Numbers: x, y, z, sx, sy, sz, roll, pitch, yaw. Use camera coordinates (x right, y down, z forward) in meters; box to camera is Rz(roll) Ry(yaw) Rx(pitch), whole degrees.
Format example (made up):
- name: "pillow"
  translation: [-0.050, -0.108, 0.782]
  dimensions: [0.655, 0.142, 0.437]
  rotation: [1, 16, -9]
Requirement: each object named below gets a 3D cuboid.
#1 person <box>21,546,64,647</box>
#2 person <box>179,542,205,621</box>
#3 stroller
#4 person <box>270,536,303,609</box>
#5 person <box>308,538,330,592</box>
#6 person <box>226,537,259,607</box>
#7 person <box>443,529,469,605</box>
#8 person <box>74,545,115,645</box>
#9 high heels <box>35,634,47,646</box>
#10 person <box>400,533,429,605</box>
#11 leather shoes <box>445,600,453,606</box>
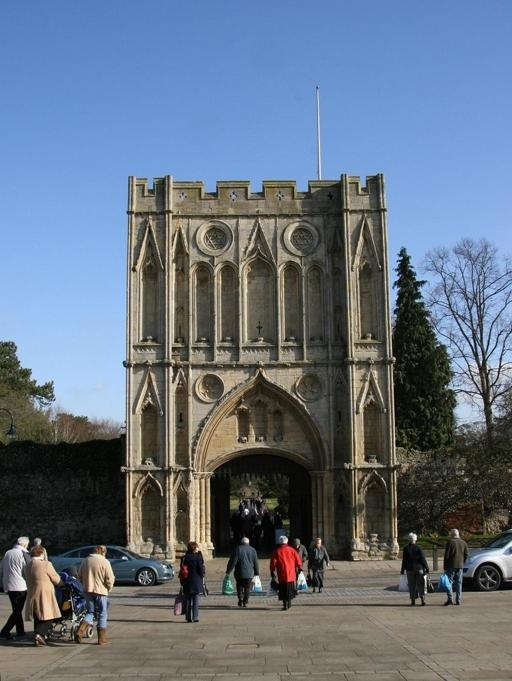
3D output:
- name: "person"
  translation: [-3.608, 4.386, 19.543]
  dimensions: [0.587, 1.443, 0.414]
  rotation: [-1, -8, -11]
- name: "person"
  translation: [-1.271, 4.659, 22.455]
  dimensions: [0.475, 1.504, 0.902]
  rotation: [-2, -8, -5]
- name: "stroller"
  translation: [-3.373, 4.741, 20.863]
  dimensions: [0.762, 1.215, 1.163]
  rotation: [-5, -10, 29]
- name: "person"
  translation: [0.591, 4.878, 24.395]
  dimensions: [0.635, 1.502, 1.608]
  rotation: [-3, -8, 1]
- name: "person"
  translation: [1.467, 5.436, 28.138]
  dimensions: [0.486, 1.250, 0.741]
  rotation: [-3, -8, 2]
- name: "person"
  translation: [-0.314, 4.901, 24.506]
  dimensions: [0.635, 1.482, 1.208]
  rotation: [-2, -8, -1]
- name: "person"
  translation: [4.177, 4.772, 24.556]
  dimensions: [0.508, 1.533, 1.043]
  rotation: [-4, -8, 9]
- name: "person"
  translation: [-2.817, 4.389, 20.162]
  dimensions: [0.618, 1.606, 1.192]
  rotation: [-1, -8, -8]
- name: "high heels"
  translation: [-3.643, 5.040, 19.519]
  dimensions: [0.114, 0.132, 0.295]
  rotation: [-16, -33, 2]
- name: "person"
  translation: [3.299, 4.831, 24.495]
  dimensions: [0.542, 1.473, 1.153]
  rotation: [-4, -8, 7]
- name: "leather shoes"
  translation: [3.993, 5.423, 24.102]
  dimensions: [0.085, 0.157, 0.230]
  rotation: [5, -7, -26]
